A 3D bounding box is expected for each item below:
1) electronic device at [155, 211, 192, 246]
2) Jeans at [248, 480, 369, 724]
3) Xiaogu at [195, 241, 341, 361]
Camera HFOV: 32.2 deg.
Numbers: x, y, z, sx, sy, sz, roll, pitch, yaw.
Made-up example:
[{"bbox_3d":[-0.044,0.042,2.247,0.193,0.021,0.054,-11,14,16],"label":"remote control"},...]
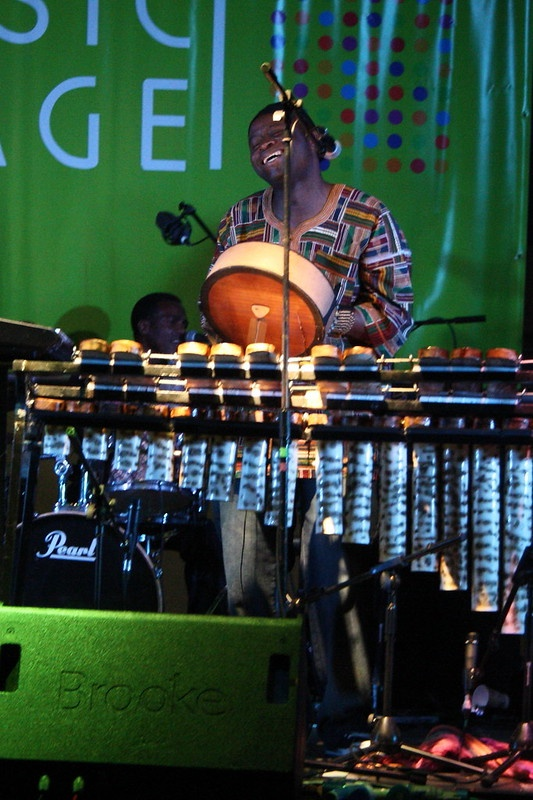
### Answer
[{"bbox_3d":[-0.327,-0.612,3.404,0.093,0.152,0.061,-44,-21,-2],"label":"electronic device"},{"bbox_3d":[0.095,0.561,2.688,0.359,0.598,0.369,3,6,4],"label":"Jeans"},{"bbox_3d":[0.020,-0.252,2.427,0.402,0.127,0.376,13,-38,9],"label":"Xiaogu"}]
